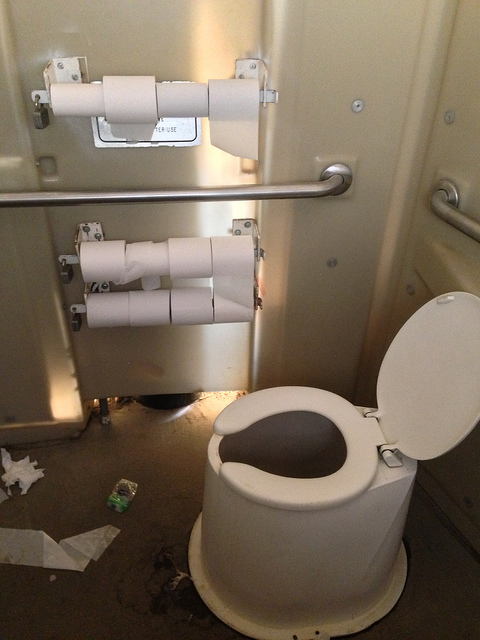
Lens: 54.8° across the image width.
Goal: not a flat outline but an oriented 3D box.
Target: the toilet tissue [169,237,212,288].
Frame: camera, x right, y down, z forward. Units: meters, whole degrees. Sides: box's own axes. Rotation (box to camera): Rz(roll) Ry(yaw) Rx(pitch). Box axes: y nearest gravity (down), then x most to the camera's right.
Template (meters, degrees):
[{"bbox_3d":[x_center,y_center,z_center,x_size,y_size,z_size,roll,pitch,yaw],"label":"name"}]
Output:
[{"bbox_3d":[-0.105,-0.126,1.060,0.100,0.132,0.103,-3,31,0],"label":"toilet tissue"}]

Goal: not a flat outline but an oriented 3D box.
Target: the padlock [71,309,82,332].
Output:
[{"bbox_3d":[-0.390,0.002,1.111,0.015,0.045,0.054,1,43,-7],"label":"padlock"}]

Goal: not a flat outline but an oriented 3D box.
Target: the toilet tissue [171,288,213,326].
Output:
[{"bbox_3d":[-0.112,-0.045,1.061,0.094,0.083,0.087,-5,19,-6],"label":"toilet tissue"}]

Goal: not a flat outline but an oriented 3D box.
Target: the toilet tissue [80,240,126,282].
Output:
[{"bbox_3d":[-0.297,-0.124,1.034,0.095,0.088,0.080,-3,57,-3],"label":"toilet tissue"}]

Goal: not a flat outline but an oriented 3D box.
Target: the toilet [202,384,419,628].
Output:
[{"bbox_3d":[0.097,0.383,0.964,0.446,0.319,0.400,-6,34,-10],"label":"toilet"}]

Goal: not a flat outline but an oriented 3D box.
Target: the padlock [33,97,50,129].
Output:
[{"bbox_3d":[-0.373,-0.392,0.869,0.013,0.042,0.027,4,54,-4],"label":"padlock"}]

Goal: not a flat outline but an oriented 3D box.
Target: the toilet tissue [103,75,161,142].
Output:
[{"bbox_3d":[-0.197,-0.387,0.850,0.091,0.111,0.117,-4,30,-10],"label":"toilet tissue"}]

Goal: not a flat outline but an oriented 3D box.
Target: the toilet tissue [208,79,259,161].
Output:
[{"bbox_3d":[-0.010,-0.373,0.861,0.094,0.139,0.049,0,35,1],"label":"toilet tissue"}]

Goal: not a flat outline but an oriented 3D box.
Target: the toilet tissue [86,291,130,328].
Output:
[{"bbox_3d":[-0.300,-0.024,1.050,0.091,0.072,0.067,-2,4,-6],"label":"toilet tissue"}]

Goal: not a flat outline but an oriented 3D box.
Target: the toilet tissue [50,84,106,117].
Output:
[{"bbox_3d":[-0.278,-0.359,0.784,0.098,0.053,0.043,-3,6,-5],"label":"toilet tissue"}]
